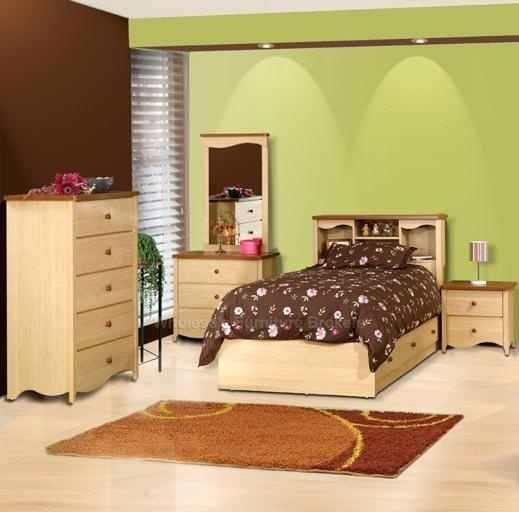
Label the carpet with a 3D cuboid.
[{"bbox_3d":[0.040,0.886,2.547,1.858,0.021,0.951,-1,-2,12],"label":"carpet"}]

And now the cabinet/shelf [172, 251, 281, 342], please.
[{"bbox_3d":[-0.243,0.435,5.130,1.097,0.849,0.624,-1,-3,36],"label":"cabinet/shelf"}]

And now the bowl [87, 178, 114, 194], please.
[{"bbox_3d":[-1.099,-0.500,3.515,0.147,0.071,0.179,-1,1,-19],"label":"bowl"}]

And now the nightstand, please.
[{"bbox_3d":[1.994,0.471,4.758,0.952,0.776,0.633,0,-1,26],"label":"nightstand"}]

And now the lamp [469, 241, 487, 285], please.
[{"bbox_3d":[2.041,0.064,4.728,0.158,0.413,0.426,-2,-3,24],"label":"lamp"}]

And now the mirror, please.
[{"bbox_3d":[-0.239,-0.659,5.392,0.827,1.250,0.084,2,5,26],"label":"mirror"}]

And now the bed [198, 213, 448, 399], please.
[{"bbox_3d":[0.676,0.273,4.180,1.324,1.091,2.056,2,5,25],"label":"bed"}]
